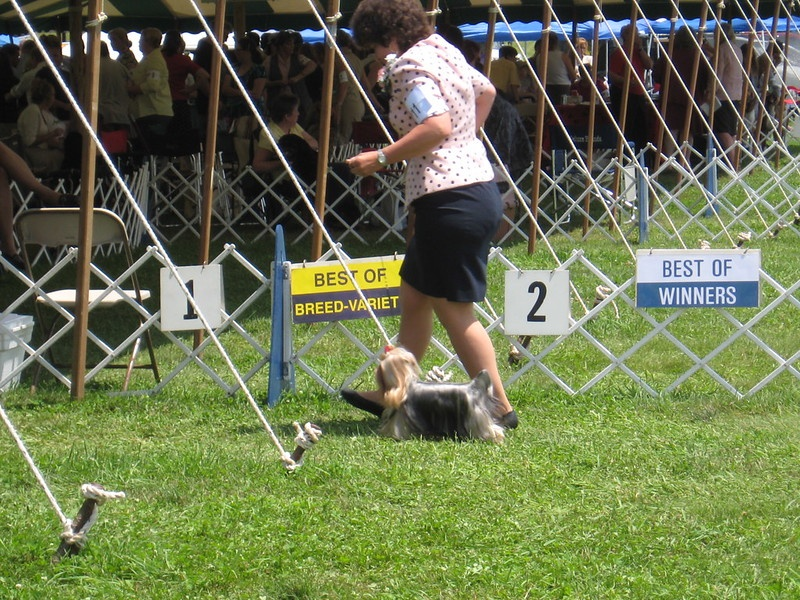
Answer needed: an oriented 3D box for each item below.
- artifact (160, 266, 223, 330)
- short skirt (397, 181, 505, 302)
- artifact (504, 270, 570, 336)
[{"bbox_3d":[-1.305,-0.013,8.541,0.337,0.385,0.084,-1,-2,-11],"label":"artifact"},{"bbox_3d":[0.294,-0.423,8.186,0.562,0.890,0.627,9,10,11],"label":"short skirt"},{"bbox_3d":[0.875,0.015,8.618,0.334,0.379,0.154,0,4,2],"label":"artifact"}]
